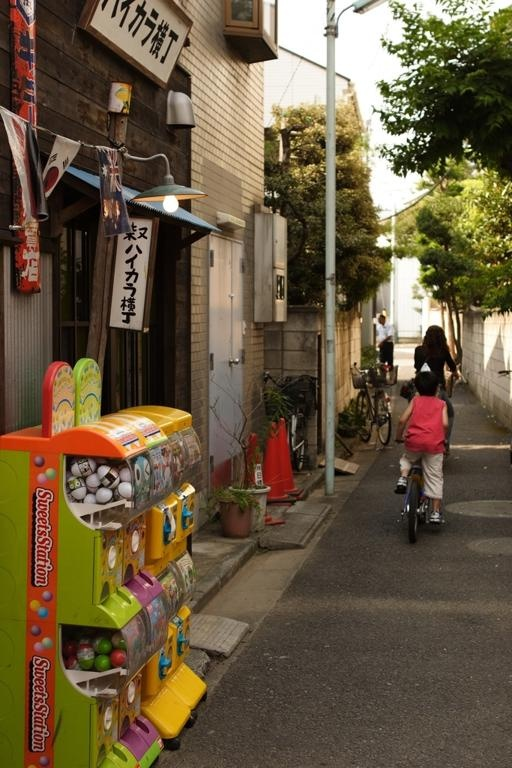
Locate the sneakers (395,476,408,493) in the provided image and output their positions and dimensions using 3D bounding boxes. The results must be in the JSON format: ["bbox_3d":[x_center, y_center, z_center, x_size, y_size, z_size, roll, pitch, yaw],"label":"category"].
[{"bbox_3d":[1.583,1.140,6.789,0.085,0.248,0.114,5,44,2],"label":"sneakers"}]

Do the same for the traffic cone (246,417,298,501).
[{"bbox_3d":[0.373,1.068,8.360,0.765,1.329,0.880,2,-7,-13],"label":"traffic cone"}]

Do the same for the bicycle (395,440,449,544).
[{"bbox_3d":[1.801,1.290,6.934,0.432,0.603,0.938,2,5,9],"label":"bicycle"}]

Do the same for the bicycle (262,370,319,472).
[{"bbox_3d":[0.692,0.459,10.636,0.748,1.092,1.758,0,3,9],"label":"bicycle"}]

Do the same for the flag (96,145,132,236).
[{"bbox_3d":[-0.777,-1.072,3.423,0.160,0.598,0.383,-1,-2,-14],"label":"flag"}]
